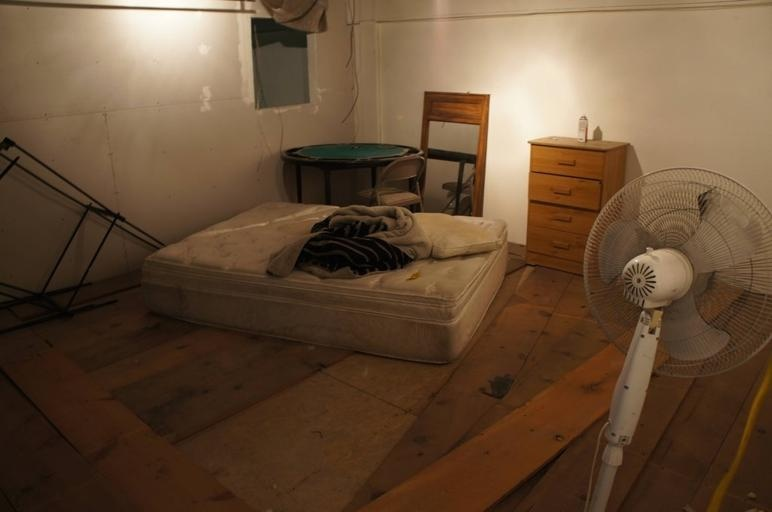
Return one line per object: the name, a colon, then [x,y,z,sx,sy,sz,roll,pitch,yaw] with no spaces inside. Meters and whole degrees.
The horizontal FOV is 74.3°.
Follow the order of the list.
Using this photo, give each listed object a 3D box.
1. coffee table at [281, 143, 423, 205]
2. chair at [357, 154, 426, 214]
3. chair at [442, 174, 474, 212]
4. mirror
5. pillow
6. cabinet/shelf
coffee table: [-0.393,-0.939,4.820,0.817,0.652,0.885,11,24,25]
chair: [0.076,-0.642,4.516,0.379,0.622,0.475,-17,43,-24]
chair: [0.729,-0.634,5.045,0.356,0.472,0.262,4,20,15]
mirror: [0.691,-1.048,5.002,0.344,1.069,0.905,-18,31,-41]
pillow: [0.490,-0.156,3.653,0.508,0.154,0.553,-4,24,-17]
cabinet/shelf: [1.583,-0.459,4.305,0.677,1.083,0.533,13,29,34]
